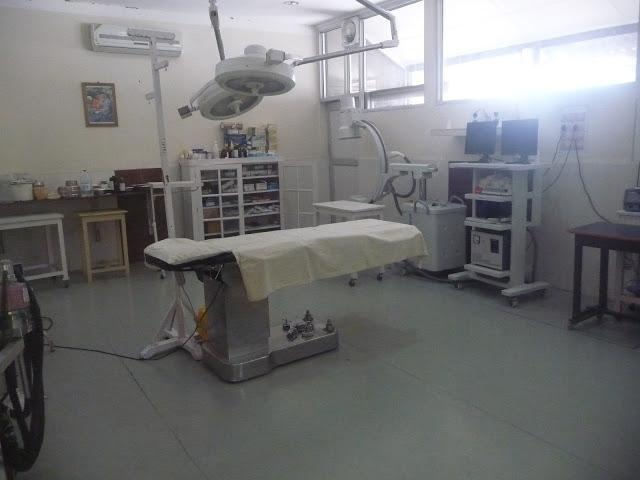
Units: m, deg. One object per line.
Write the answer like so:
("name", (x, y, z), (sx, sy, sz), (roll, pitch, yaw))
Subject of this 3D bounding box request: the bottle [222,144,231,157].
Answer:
("bottle", (-1.414, -1.351, 7.183), (0.152, 0.173, 0.158), (-5, 11, -30))

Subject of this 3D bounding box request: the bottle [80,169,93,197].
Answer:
("bottle", (-3.061, -0.758, 6.242), (0.162, 0.330, 0.505), (-10, 12, -24))

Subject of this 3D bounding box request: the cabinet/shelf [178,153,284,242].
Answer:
("cabinet/shelf", (-1.352, -0.658, 6.876), (1.238, 1.245, 0.405), (-6, 10, -36))

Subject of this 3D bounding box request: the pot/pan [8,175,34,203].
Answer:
("pot/pan", (-3.635, -0.625, 5.893), (0.277, 0.299, 0.302), (0, 2, 26))

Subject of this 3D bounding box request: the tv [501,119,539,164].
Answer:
("tv", (2.120, -1.056, 5.059), (0.178, 0.472, 0.453), (-8, 10, -41))

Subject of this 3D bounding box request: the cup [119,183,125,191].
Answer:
("cup", (-2.594, -0.703, 6.271), (0.074, 0.096, 0.212), (-9, 12, -22))

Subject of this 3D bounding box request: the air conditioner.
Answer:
("air conditioner", (-2.500, -2.758, 6.590), (1.235, 0.393, 0.223), (-7, 46, -27))

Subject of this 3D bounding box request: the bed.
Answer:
("bed", (-0.263, 0.422, 4.233), (2.440, 1.074, 0.948), (-7, 14, -34))

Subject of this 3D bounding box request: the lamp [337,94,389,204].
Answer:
("lamp", (0.568, -1.195, 6.391), (0.595, 1.488, 0.968), (-4, 11, 4))
